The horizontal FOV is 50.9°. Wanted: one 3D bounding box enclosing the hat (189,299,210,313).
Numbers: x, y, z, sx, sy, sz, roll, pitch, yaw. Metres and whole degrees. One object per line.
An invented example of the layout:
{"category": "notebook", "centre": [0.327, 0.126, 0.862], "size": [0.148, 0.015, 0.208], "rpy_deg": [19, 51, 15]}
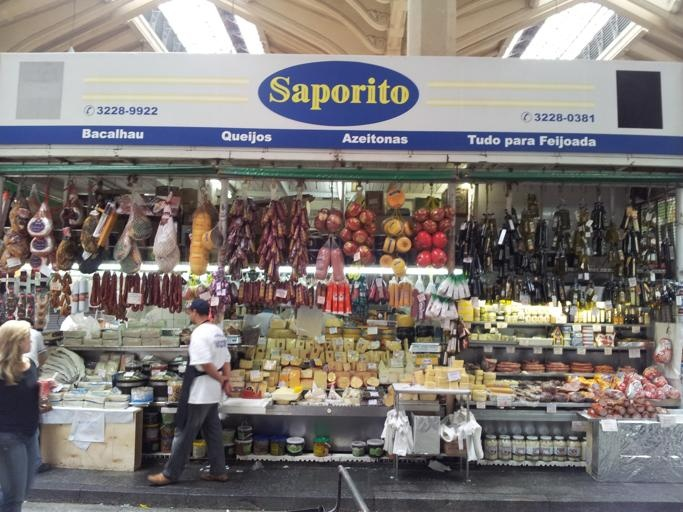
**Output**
{"category": "hat", "centre": [-1.785, 0.627, 9.052], "size": [0.206, 0.196, 0.155], "rpy_deg": [3, -1, -43]}

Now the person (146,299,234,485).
{"category": "person", "centre": [-1.796, 1.679, 8.915], "size": [0.819, 2.290, 0.342], "rpy_deg": [2, -7, -13]}

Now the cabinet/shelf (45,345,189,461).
{"category": "cabinet/shelf", "centre": [-3.324, 2.377, 9.745], "size": [1.187, 0.724, 1.177], "rpy_deg": [4, -7, -3]}

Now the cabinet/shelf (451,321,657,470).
{"category": "cabinet/shelf", "centre": [2.836, 2.073, 11.140], "size": [2.913, 1.882, 1.522], "rpy_deg": [1, -1, -4]}
